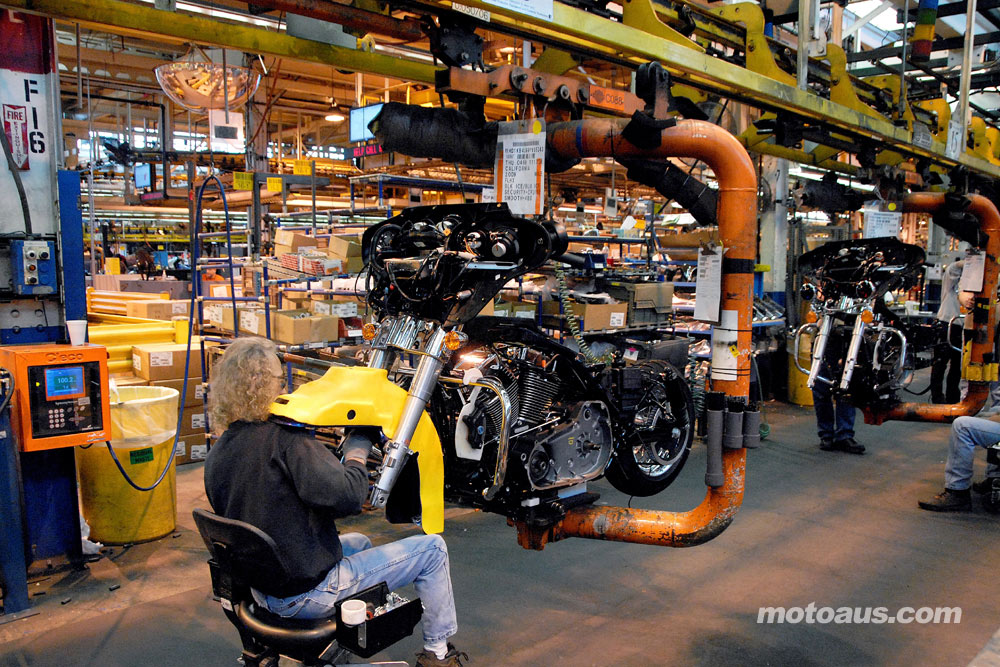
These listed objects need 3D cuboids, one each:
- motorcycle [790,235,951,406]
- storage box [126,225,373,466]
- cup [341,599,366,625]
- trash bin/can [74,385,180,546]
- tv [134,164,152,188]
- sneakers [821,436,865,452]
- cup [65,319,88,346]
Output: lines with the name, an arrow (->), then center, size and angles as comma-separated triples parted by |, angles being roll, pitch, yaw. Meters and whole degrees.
motorcycle -> 4.698, -0.288, 8.988 | 3.199, 1.649, 1.409 | -15, 15, -42
storage box -> -2.606, 0.001, 8.682 | 3.257, 2.945, 1.869 | 1, -1, 40
cup -> -0.780, 1.477, 3.825 | 0.127, 0.072, 0.119 | 1, -2, 0
trash bin/can -> -3.277, 1.178, 6.454 | 0.855, 1.224, 0.719 | -9, 16, -34
tv -> -7.587, -3.362, 15.385 | 0.084, 0.542, 0.793 | -7, 6, -40
sneakers -> 4.142, 1.330, 8.777 | 0.565, 0.211, 0.195 | -2, 3, 14
cup -> -3.363, -0.010, 5.755 | 0.204, 0.191, 0.186 | -2, -6, 0
